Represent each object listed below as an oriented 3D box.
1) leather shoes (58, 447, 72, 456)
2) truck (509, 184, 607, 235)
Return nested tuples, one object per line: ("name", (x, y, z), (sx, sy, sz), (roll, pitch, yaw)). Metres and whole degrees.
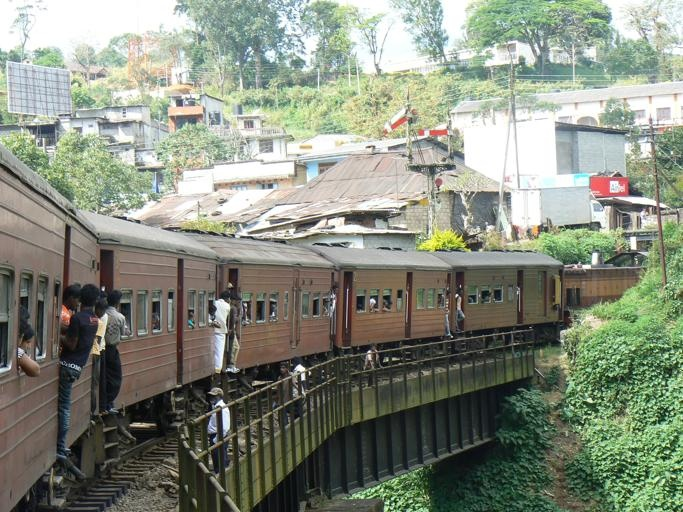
("leather shoes", (-3.414, 2.394, 10.494), (0.091, 0.116, 0.195), (-3, 1, 9))
("truck", (12.199, -2.699, 51.635), (4.628, 2.781, 2.558), (-7, 6, -36))
